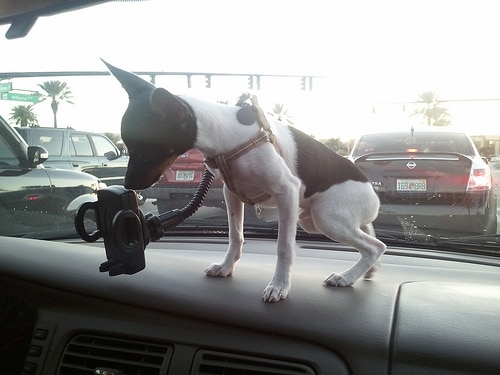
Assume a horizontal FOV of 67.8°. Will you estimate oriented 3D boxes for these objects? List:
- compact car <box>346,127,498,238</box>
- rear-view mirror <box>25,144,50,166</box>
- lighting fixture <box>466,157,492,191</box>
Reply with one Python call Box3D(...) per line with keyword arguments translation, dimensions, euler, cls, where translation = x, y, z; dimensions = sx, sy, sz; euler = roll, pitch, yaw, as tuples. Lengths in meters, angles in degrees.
Box3D(translation=(1.769, -0.104, 3.657), dimensions=(0.927, 0.691, 1.637), euler=(0, 5, 26), cls="compact car")
Box3D(translation=(-1.979, -0.287, 3.486), dimensions=(0.207, 0.205, 0.211), euler=(11, 14, 44), cls="rear-view mirror")
Box3D(translation=(2.139, -0.100, 3.481), dimensions=(0.227, 0.139, 0.450), euler=(5, 50, 19), cls="lighting fixture")
